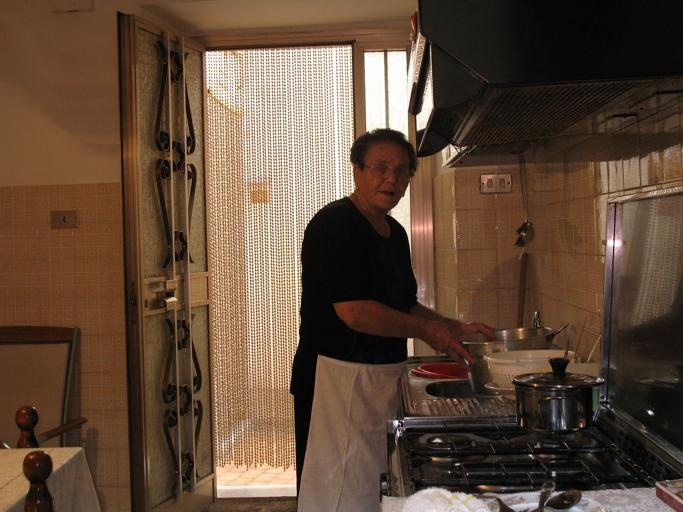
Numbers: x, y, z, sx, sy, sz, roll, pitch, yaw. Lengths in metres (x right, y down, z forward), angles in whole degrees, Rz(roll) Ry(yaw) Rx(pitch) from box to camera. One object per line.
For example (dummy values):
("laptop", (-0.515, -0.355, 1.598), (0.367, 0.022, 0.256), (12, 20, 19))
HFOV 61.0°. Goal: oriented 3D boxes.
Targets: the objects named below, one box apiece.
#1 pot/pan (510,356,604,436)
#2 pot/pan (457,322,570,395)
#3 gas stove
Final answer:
("pot/pan", (0.494, 0.308, 1.371), (0.181, 0.137, 0.179), (0, -8, -2))
("pot/pan", (0.531, 0.290, 1.835), (0.312, 0.132, 0.223), (-10, -4, 9))
("gas stove", (0.399, 0.460, 1.410), (0.613, 0.059, 0.484), (-7, 4, 2))
